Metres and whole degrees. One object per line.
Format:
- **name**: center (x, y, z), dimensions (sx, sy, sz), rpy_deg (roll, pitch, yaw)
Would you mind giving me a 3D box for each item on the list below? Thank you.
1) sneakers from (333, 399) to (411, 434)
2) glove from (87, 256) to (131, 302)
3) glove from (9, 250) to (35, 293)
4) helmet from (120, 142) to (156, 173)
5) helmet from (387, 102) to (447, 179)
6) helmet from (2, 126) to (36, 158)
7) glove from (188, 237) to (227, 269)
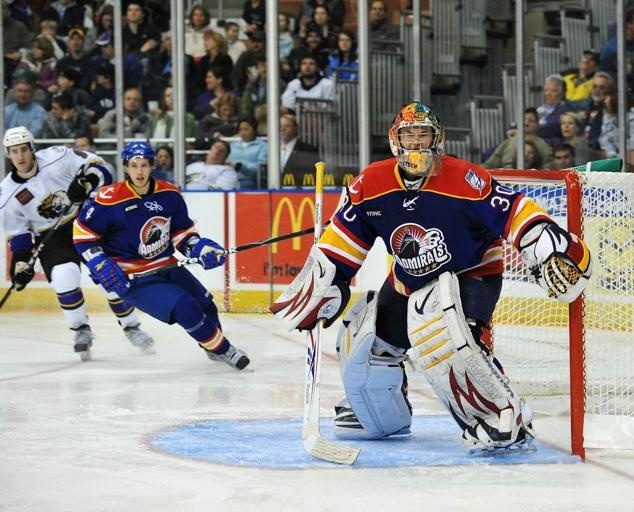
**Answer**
- **sneakers**: center (0.235, 0.760, 5.570), dimensions (0.264, 0.097, 0.187), rpy_deg (6, 0, 1)
- **glove**: center (-1.258, 0.128, 6.877), dimensions (0.182, 0.269, 0.111), rpy_deg (-32, 13, 34)
- **glove**: center (-1.979, 0.103, 7.590), dimensions (0.087, 0.236, 0.180), rpy_deg (26, 21, 35)
- **helmet**: center (-1.085, -0.618, 6.878), dimensions (0.186, 0.152, 0.176), rpy_deg (-3, 9, -11)
- **helmet**: center (0.469, -0.531, 5.293), dimensions (0.265, 0.339, 0.344), rpy_deg (0, 14, 6)
- **helmet**: center (-2.006, -0.763, 7.500), dimensions (0.174, 0.224, 0.226), rpy_deg (-15, 10, -1)
- **glove**: center (-0.665, -0.014, 6.930), dimensions (0.225, 0.096, 0.174), rpy_deg (32, -20, 23)
